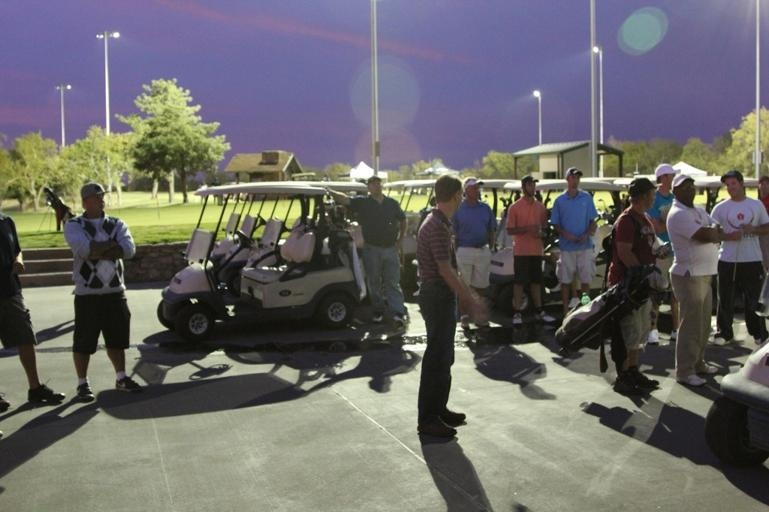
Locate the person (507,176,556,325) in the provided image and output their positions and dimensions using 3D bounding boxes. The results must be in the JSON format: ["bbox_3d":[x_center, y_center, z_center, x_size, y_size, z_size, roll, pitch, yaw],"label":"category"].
[{"bbox_3d":[2.202,-0.104,10.294,0.666,2.163,0.537,-3,12,-10],"label":"person"}]

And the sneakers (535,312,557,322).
[{"bbox_3d":[2.483,0.922,10.352,0.266,0.116,0.143,4,3,4],"label":"sneakers"}]

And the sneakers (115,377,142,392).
[{"bbox_3d":[-2.889,1.438,7.696,0.281,0.138,0.145,2,2,17],"label":"sneakers"}]

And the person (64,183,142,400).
[{"bbox_3d":[-3.157,0.368,7.625,0.759,2.334,0.736,-7,13,-26],"label":"person"}]

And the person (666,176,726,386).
[{"bbox_3d":[3.474,0.252,7.625,0.617,2.254,0.722,4,12,23],"label":"person"}]

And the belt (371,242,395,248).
[{"bbox_3d":[-0.012,-0.180,10.325,0.340,0.090,0.066,-4,12,-17],"label":"belt"}]

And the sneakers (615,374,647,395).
[{"bbox_3d":[2.682,1.382,7.424,0.319,0.184,0.199,1,12,9],"label":"sneakers"}]

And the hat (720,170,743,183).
[{"bbox_3d":[4.431,-1.038,8.651,0.276,0.151,0.193,12,-5,-16],"label":"hat"}]

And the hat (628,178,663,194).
[{"bbox_3d":[2.889,-0.787,7.557,0.250,0.130,0.184,-13,16,-8],"label":"hat"}]

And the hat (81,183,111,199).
[{"bbox_3d":[-3.239,-0.703,7.565,0.242,0.134,0.184,-11,10,-9],"label":"hat"}]

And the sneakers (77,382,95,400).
[{"bbox_3d":[-3.302,1.482,7.500,0.175,0.154,0.236,-6,13,-24],"label":"sneakers"}]

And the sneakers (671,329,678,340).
[{"bbox_3d":[3.948,1.073,9.260,0.102,0.150,0.151,1,-6,7],"label":"sneakers"}]

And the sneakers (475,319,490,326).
[{"bbox_3d":[1.507,1.018,10.290,0.182,0.065,0.192,0,2,23],"label":"sneakers"}]

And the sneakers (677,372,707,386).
[{"bbox_3d":[3.415,1.347,7.564,0.262,0.115,0.133,-2,3,26],"label":"sneakers"}]

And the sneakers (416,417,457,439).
[{"bbox_3d":[0.496,1.643,6.571,0.355,0.171,0.159,0,0,9],"label":"sneakers"}]

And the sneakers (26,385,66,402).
[{"bbox_3d":[-3.684,1.488,7.487,0.440,0.226,0.163,3,4,-9],"label":"sneakers"}]

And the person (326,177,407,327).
[{"bbox_3d":[-0.094,-0.067,10.240,0.846,2.185,0.873,-1,11,1],"label":"person"}]

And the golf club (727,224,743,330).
[{"bbox_3d":[4.622,0.244,8.956,0.211,1.424,0.226,1,3,-7],"label":"golf club"}]

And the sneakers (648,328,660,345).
[{"bbox_3d":[3.606,1.074,9.086,0.102,0.122,0.274,0,2,6],"label":"sneakers"}]

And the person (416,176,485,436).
[{"bbox_3d":[0.602,0.468,6.575,0.566,2.413,0.720,0,11,4],"label":"person"}]
